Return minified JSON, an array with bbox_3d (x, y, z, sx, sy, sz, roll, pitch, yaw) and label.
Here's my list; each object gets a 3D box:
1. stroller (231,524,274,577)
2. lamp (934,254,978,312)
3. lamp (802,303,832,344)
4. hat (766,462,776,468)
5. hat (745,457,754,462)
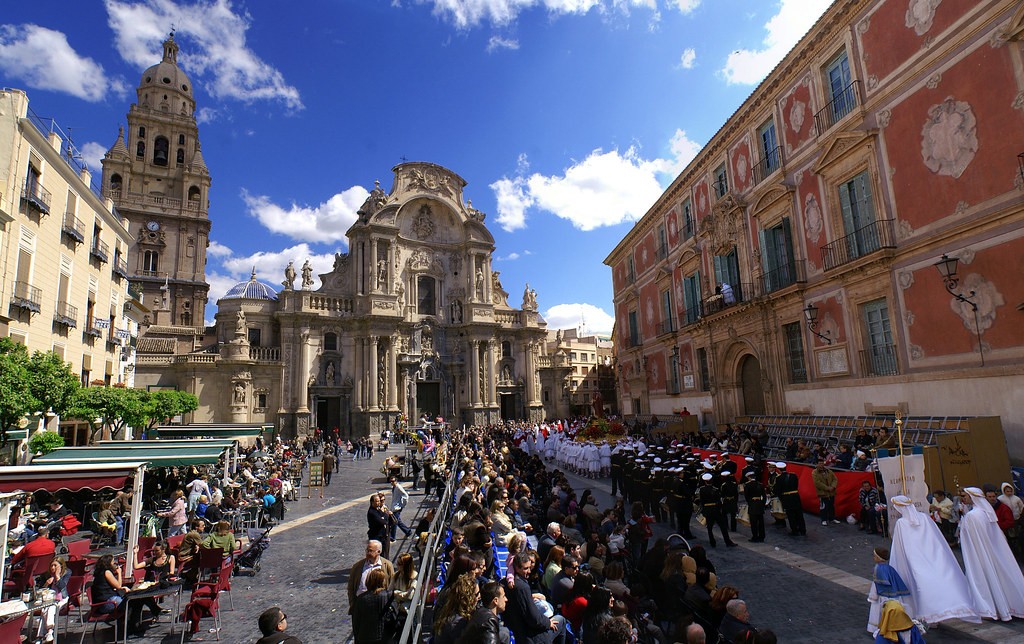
[{"bbox_3d":[-8.641,7.546,19.659,1.116,1.401,0.857,13,-15,-15],"label":"stroller"},{"bbox_3d":[16.876,-1.543,22.597,0.973,2.369,0.801,5,-15,-24],"label":"lamp"},{"bbox_3d":[14.114,0.046,27.745,0.916,2.130,1.135,1,-14,-11],"label":"lamp"},{"bbox_3d":[9.949,5.435,22.616,0.294,0.083,0.284,-2,-2,-21],"label":"hat"},{"bbox_3d":[9.610,5.572,24.003,0.245,0.057,0.251,-2,-7,43],"label":"hat"}]
